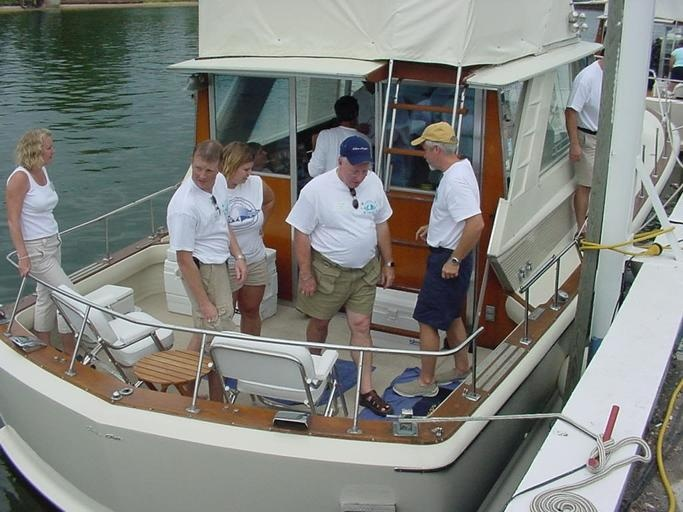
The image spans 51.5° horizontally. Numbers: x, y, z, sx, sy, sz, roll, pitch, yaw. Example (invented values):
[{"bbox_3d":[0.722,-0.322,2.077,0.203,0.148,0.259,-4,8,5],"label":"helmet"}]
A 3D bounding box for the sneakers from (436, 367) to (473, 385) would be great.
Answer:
[{"bbox_3d":[0.894,0.960,5.675,0.351,0.142,0.127,-2,17,1],"label":"sneakers"}]

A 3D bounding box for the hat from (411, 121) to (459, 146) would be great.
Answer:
[{"bbox_3d":[0.721,-0.899,5.295,0.268,0.152,0.183,6,18,15],"label":"hat"}]

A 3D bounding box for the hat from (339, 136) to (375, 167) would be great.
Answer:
[{"bbox_3d":[0.099,-0.785,5.178,0.157,0.142,0.236,-7,33,-21],"label":"hat"}]

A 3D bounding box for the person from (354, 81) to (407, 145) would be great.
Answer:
[{"bbox_3d":[0.356,-1.219,6.027,0.388,0.438,0.783,16,19,3],"label":"person"}]

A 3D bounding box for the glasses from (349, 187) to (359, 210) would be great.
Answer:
[{"bbox_3d":[0.108,-0.432,5.344,0.061,0.142,0.064,-7,22,-10],"label":"glasses"}]

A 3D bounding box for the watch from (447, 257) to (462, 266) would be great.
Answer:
[{"bbox_3d":[0.833,0.032,5.212,0.070,0.047,0.068,31,25,4],"label":"watch"}]

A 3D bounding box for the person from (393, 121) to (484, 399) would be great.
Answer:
[{"bbox_3d":[0.757,0.035,5.429,0.627,2.018,0.678,2,22,13],"label":"person"}]

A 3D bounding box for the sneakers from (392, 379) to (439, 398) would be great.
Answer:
[{"bbox_3d":[0.589,1.047,5.536,0.321,0.138,0.144,2,10,2],"label":"sneakers"}]
